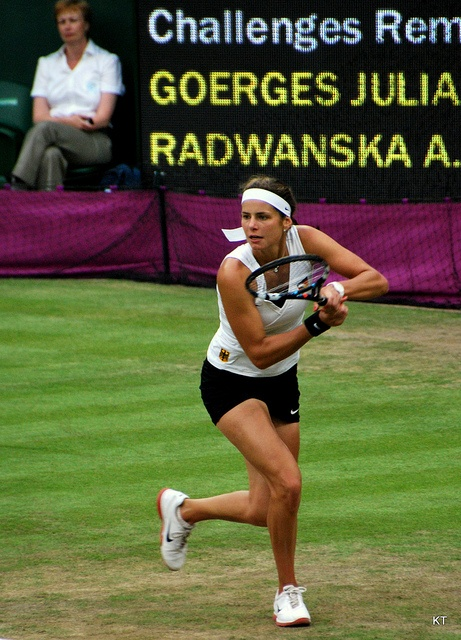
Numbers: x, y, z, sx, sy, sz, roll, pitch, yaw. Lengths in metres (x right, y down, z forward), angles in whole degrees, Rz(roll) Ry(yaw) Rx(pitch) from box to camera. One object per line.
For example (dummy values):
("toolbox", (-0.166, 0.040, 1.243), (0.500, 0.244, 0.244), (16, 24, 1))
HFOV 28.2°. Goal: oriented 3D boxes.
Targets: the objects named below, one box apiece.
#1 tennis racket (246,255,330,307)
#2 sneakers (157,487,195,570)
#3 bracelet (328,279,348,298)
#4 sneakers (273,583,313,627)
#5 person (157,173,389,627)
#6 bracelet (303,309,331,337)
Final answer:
("tennis racket", (0.212, -0.155, 3.371), (0.286, 0.220, 0.337), (2, 14, 5))
("sneakers", (-0.252, 0.847, 3.716), (0.162, 0.300, 0.119), (-14, -9, 31))
("bracelet", (0.387, -0.116, 3.312), (0.019, 0.062, 0.059), (-36, 45, -6))
("sneakers", (0.218, 1.006, 3.234), (0.130, 0.126, 0.111), (-2, 15, -9))
("person", (0.220, 0.262, 3.472), (0.840, 1.578, 0.898), (-8, 18, -29))
("bracelet", (0.301, 0.004, 3.314), (0.113, 0.088, 0.083), (-2, 31, -11))
